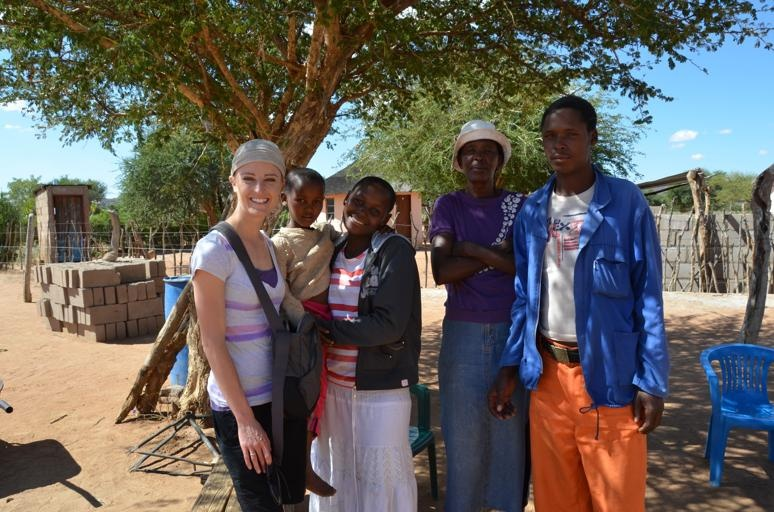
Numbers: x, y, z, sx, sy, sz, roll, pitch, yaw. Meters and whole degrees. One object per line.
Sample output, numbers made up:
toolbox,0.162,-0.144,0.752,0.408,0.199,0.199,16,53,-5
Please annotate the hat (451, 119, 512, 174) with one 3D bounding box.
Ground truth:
hat,0.831,-1.082,5.160,0.419,0.244,0.477,-2,-40,1

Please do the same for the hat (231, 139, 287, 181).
hat,-0.987,-0.722,4.288,0.319,0.197,0.313,-1,6,-18
